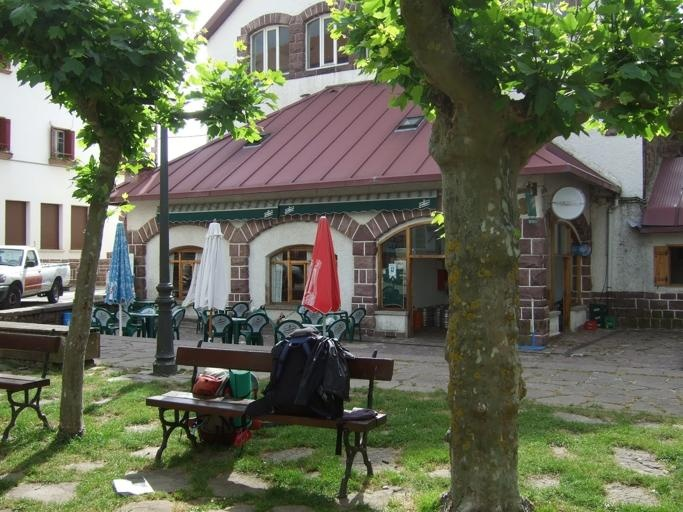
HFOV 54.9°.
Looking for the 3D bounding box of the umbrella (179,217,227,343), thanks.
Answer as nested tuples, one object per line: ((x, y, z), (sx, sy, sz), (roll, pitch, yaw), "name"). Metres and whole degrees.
((-3.368, 0.566, 16.279), (0.956, 2.918, 3.165), (3, -8, -14), "umbrella")

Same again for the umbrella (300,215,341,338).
((-0.388, 0.194, 13.407), (0.732, 2.017, 0.401), (2, -7, -5), "umbrella")

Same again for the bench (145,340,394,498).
((-0.879, 1.714, 7.327), (2.873, 1.379, 0.820), (-1, 1, 26), "bench")
